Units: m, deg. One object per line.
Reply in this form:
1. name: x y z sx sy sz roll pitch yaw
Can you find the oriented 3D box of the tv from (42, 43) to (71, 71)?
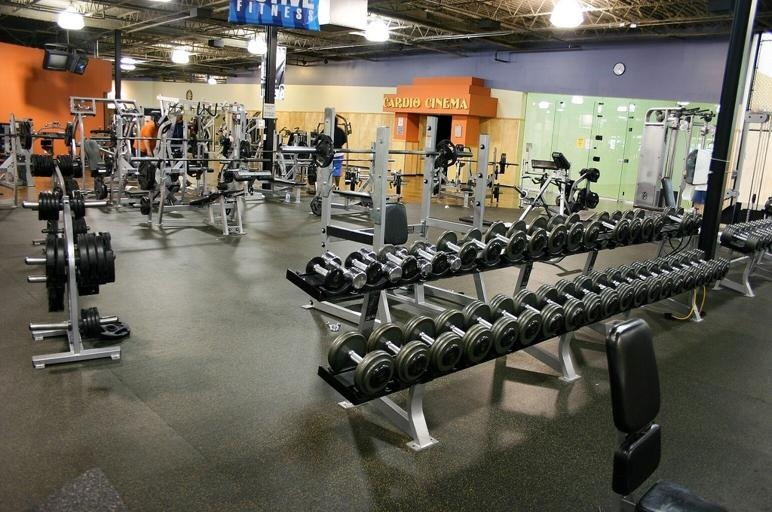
1. tv: -6.959 -4.215 11.246 0.579 0.573 0.565 6 14 10
